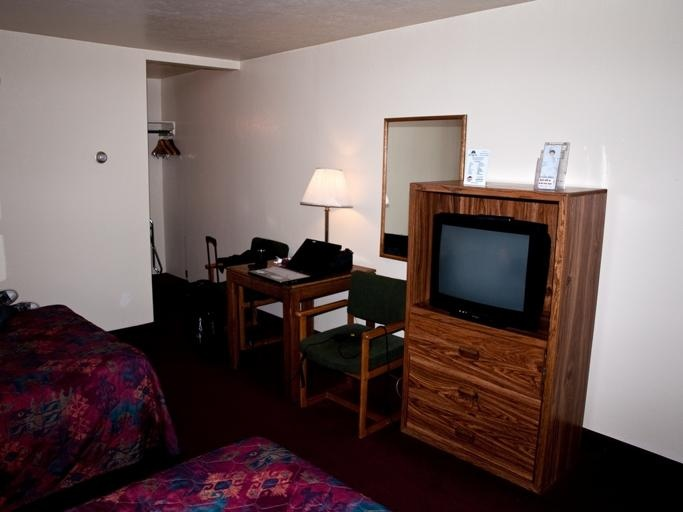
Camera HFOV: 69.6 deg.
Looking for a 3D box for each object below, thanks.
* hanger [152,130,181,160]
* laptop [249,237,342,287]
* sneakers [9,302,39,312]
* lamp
[{"bbox_3d":[-2.215,-1.421,6.208,0.297,0.334,0.401,-5,14,-20],"label":"hanger"},{"bbox_3d":[-0.325,0.053,4.211,0.478,0.193,0.450,-7,13,-41],"label":"laptop"},{"bbox_3d":[-2.654,0.427,4.119,0.157,0.056,0.061,-1,-2,-21],"label":"sneakers"},{"bbox_3d":[-0.095,-0.446,4.560,0.387,0.716,0.409,8,15,31],"label":"lamp"}]
